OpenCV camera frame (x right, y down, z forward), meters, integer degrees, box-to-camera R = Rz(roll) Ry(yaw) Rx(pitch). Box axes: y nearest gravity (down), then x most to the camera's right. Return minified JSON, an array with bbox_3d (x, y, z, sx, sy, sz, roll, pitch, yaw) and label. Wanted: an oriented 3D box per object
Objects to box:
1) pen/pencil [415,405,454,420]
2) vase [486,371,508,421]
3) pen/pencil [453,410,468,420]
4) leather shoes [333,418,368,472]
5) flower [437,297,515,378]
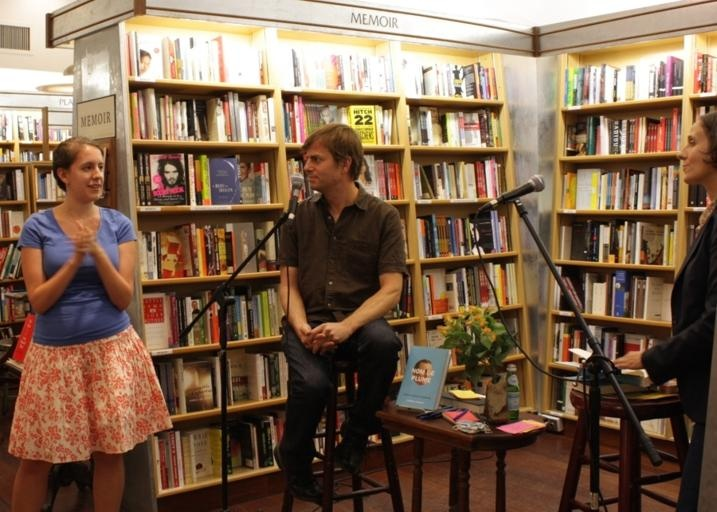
[{"bbox_3d":[0.358,0.757,2.753,0.114,0.028,0.029,-14,-4,-29],"label":"pen/pencil"},{"bbox_3d":[0.648,0.658,2.689,0.102,0.217,0.097,1,7,15],"label":"vase"},{"bbox_3d":[0.489,0.752,2.704,0.099,0.021,0.026,-24,36,-31],"label":"pen/pencil"},{"bbox_3d":[-0.038,0.955,2.904,0.099,0.222,0.229,21,-31,-39],"label":"leather shoes"},{"bbox_3d":[0.557,0.420,2.746,0.312,0.328,0.167,6,10,44],"label":"flower"}]
